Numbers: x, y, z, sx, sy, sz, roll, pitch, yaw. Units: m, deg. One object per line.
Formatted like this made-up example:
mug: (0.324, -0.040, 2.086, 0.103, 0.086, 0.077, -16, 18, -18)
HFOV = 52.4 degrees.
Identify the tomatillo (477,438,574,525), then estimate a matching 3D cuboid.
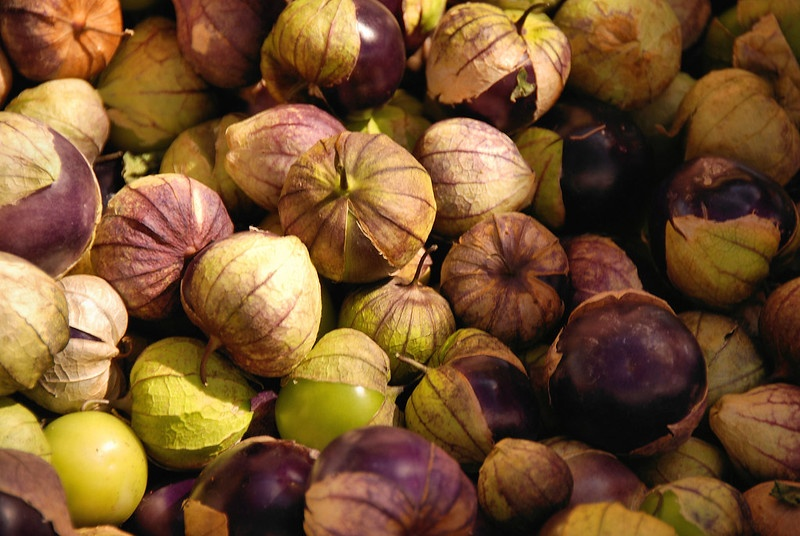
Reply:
tomatillo: (0.308, 0.547, 2.065, 0.210, 0.216, 0.179, 1, 4, -3)

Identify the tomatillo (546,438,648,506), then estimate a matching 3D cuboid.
tomatillo: (0.531, 0.551, 2.166, 0.173, 0.123, 0.151, 5, 28, 13)
